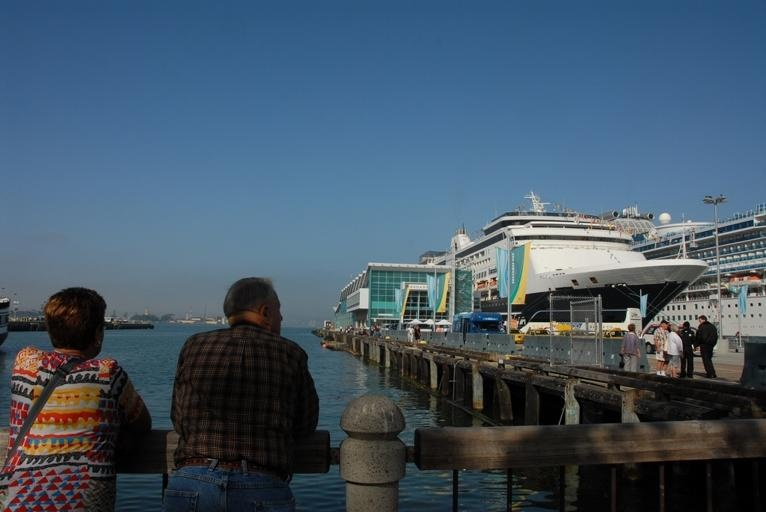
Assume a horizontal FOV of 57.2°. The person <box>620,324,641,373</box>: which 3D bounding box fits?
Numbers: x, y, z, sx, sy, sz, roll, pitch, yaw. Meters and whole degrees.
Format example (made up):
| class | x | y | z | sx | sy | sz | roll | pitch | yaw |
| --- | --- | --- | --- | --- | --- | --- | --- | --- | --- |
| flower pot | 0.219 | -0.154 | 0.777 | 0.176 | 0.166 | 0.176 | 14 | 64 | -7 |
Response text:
| class | x | y | z | sx | sy | sz | roll | pitch | yaw |
| --- | --- | --- | --- | --- | --- | --- | --- | --- | --- |
| person | 7.357 | 2.722 | 20.814 | 0.536 | 1.379 | 1.215 | -1 | -8 | 20 |
